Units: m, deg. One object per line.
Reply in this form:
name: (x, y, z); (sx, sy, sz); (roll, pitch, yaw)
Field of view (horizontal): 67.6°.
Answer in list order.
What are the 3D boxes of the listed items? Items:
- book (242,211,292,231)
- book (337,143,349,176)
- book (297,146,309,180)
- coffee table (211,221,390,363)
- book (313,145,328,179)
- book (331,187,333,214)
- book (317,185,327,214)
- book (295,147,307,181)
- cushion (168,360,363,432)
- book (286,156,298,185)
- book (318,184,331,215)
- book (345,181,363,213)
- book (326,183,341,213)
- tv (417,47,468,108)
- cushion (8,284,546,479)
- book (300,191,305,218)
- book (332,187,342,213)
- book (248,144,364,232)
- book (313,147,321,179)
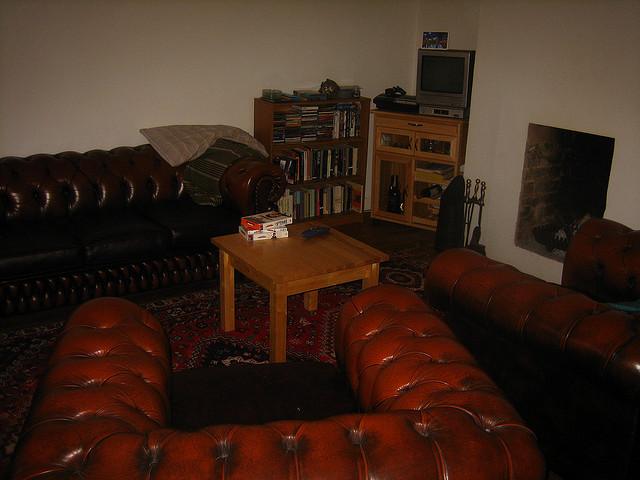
book: (-0.359, -0.133, 3.256); (0.185, 0.042, 0.183); (-13, 23, -39)
book: (0.270, -0.870, 5.239); (0.063, 0.256, 0.253); (-5, 10, -9)
book: (-0.174, -0.810, 4.985); (0.048, 0.307, 0.274); (-9, 25, -23)
coffee table: (-0.181, 0.132, 3.403); (1.206, 0.784, 0.977); (-10, 24, -33)
book: (0.004, -0.832, 5.082); (0.159, 0.261, 0.290); (-4, 22, -18)
book: (0.136, -0.435, 5.259); (0.031, 0.262, 0.010); (-12, 18, -32)
book: (0.019, -0.444, 5.209); (0.037, 0.304, 0.239); (-8, 23, -19)
book: (-0.201, -0.802, 4.972); (0.043, 0.322, 0.254); (-8, 24, -21)
cushion: (-0.186, 0.541, 1.647); (0.402, 0.089, 0.417); (5, 17, -31)
book: (-0.279, -0.708, 4.960); (0.113, 0.272, 0.046); (-6, 15, -14)
book: (0.050, -0.448, 5.222); (0.157, 0.244, 0.267); (-5, 21, -17)
book: (0.390, -0.483, 5.359); (0.049, 0.321, 0.344); (-3, 8, -27)
book: (0.149, -0.462, 5.265); (0.157, 0.246, 0.268); (-6, 19, -14)
tv: (1.234, -1.606, 4.763); (0.539, 0.483, 0.291); (10, 19, 31)
cushion: (-0.166, 0.444, 1.404); (1.375, 0.216, 0.833); (-2, 15, 0)
book: (-0.184, -0.375, 5.113); (0.021, 0.274, 0.053); (11, 20, 41)
book: (0.188, -0.449, 5.284); (0.135, 0.219, 0.236); (-5, 17, -16)
book: (-0.147, -0.522, 4.614); (0.910, 0.723, 0.312); (-9, 15, -38)
book: (-0.010, -0.813, 5.088); (0.051, 0.327, 0.053); (1, 15, 12)
